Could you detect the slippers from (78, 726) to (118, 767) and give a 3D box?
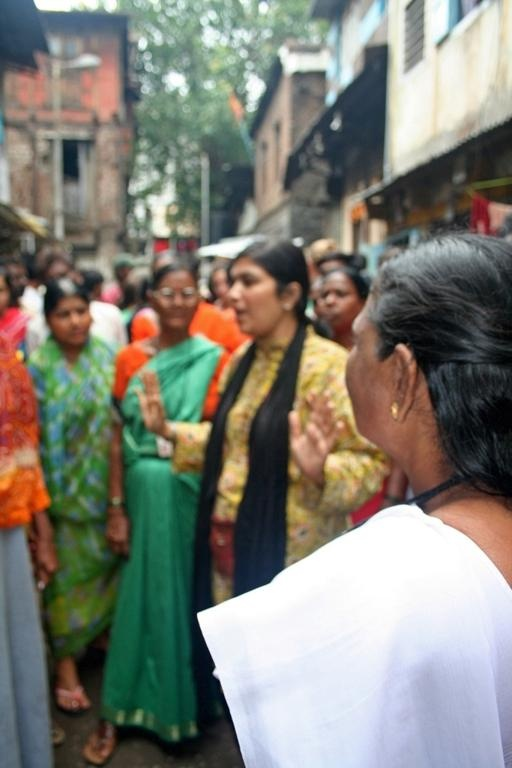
[{"bbox_3d":[-0.533,1.232,2.519,0.059,0.063,0.115,18,52,22],"label":"slippers"}]
